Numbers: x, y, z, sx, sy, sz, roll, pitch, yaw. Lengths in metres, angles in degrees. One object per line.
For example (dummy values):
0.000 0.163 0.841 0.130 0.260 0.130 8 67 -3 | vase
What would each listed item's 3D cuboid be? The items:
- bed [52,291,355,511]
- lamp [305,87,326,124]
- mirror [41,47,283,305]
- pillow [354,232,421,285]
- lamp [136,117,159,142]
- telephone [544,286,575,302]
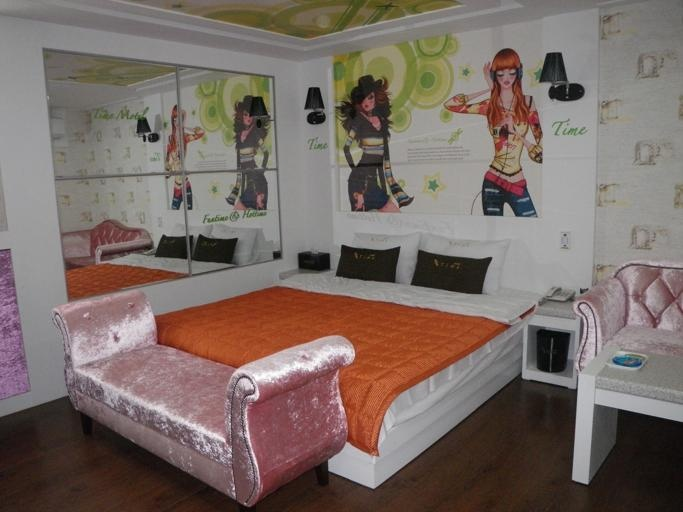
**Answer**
-1.002 0.855 3.221 2.147 0.955 0.743 6 12 35 | bed
-0.298 -1.744 5.586 0.248 0.405 0.394 -1 10 -4 | lamp
-1.780 -0.780 4.571 0.101 2.163 2.477 3 8 39 | mirror
0.486 0.048 4.910 0.489 0.326 0.175 6 -17 42 | pillow
-1.787 -1.182 4.504 0.147 0.255 0.209 2 2 29 | lamp
1.978 0.347 4.333 0.239 0.087 0.310 6 11 34 | telephone
